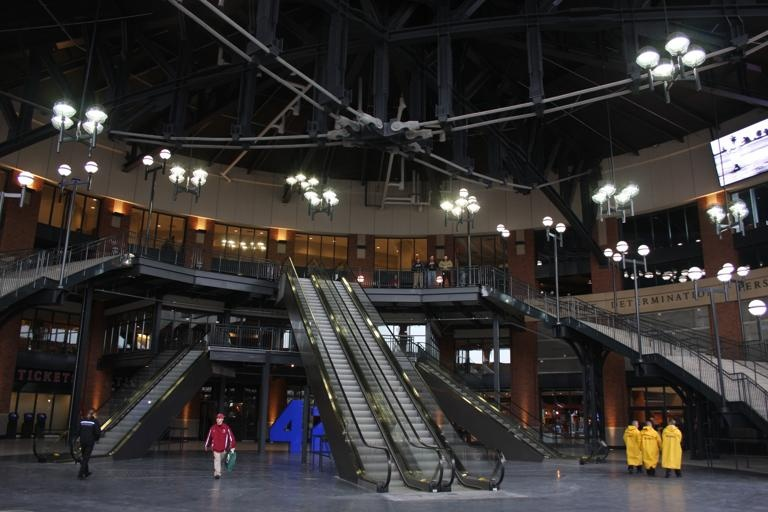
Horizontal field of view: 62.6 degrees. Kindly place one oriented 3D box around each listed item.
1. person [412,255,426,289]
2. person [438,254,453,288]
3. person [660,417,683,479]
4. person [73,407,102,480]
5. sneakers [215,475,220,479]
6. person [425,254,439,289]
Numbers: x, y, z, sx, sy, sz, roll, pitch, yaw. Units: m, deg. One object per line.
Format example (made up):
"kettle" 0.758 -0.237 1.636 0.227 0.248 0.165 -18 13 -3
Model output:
"person" 2.096 1.106 39.106 0.682 1.906 1.142 0 -11 0
"person" 3.747 1.068 38.663 0.780 1.808 1.565 -1 -11 5
"person" 11.197 7.495 24.734 0.728 2.101 1.368 -4 -12 22
"person" -10.424 6.588 22.237 0.683 2.266 0.988 5 -12 -25
"sneakers" -5.830 7.751 22.137 0.154 0.112 0.155 18 -31 -33
"person" 2.856 1.169 38.607 0.741 1.570 0.593 0 -11 2
